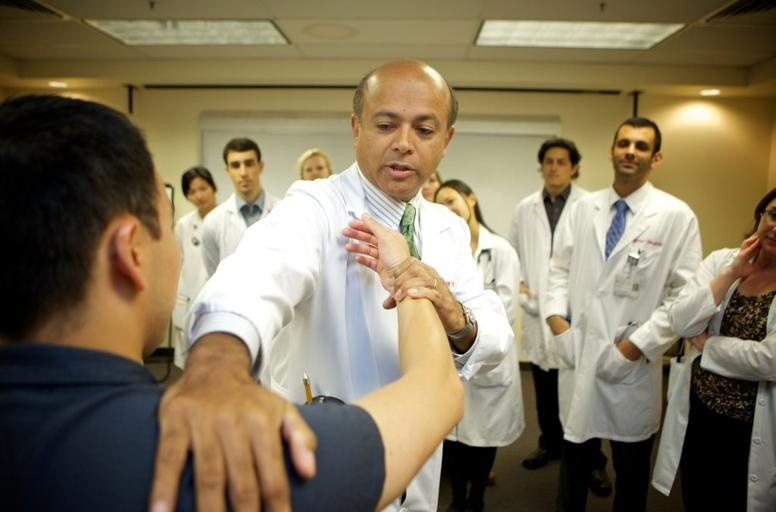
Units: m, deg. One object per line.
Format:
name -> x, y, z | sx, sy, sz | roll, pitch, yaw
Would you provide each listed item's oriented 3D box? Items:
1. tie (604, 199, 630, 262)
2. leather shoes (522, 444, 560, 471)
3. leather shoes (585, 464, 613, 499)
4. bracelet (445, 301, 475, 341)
tie -> 1.216, -0.167, 2.950 | 0.087, 0.423, 0.054 | 3, -36, 29
leather shoes -> 0.977, 1.287, 3.604 | 0.297, 0.125, 0.100 | -11, 12, -33
leather shoes -> 1.245, 1.313, 3.262 | 0.072, 0.088, 0.210 | 0, 14, 12
bracelet -> 0.200, 0.196, 1.653 | 0.090, 0.104, 0.101 | -8, -18, 29
